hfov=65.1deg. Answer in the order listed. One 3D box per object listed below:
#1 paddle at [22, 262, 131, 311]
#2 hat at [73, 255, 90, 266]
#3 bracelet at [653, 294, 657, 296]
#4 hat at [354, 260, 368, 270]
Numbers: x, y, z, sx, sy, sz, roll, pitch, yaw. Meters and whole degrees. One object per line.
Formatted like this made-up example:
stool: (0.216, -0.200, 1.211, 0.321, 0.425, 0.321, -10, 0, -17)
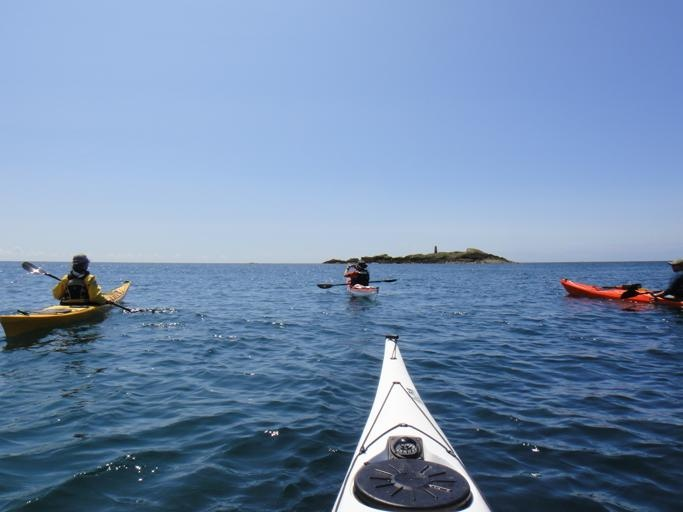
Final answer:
paddle: (-13.902, 1.526, 27.925, 4.817, 0.393, 0.312, 23, -19, -17)
hat: (-6.908, 0.124, 14.167, 0.445, 0.295, 0.407, 1, 3, -2)
bracelet: (11.879, 1.484, 20.353, 0.044, 0.103, 0.133, 2, 14, -14)
hat: (0.815, 0.466, 25.313, 0.591, 0.445, 0.626, 9, 13, 18)
